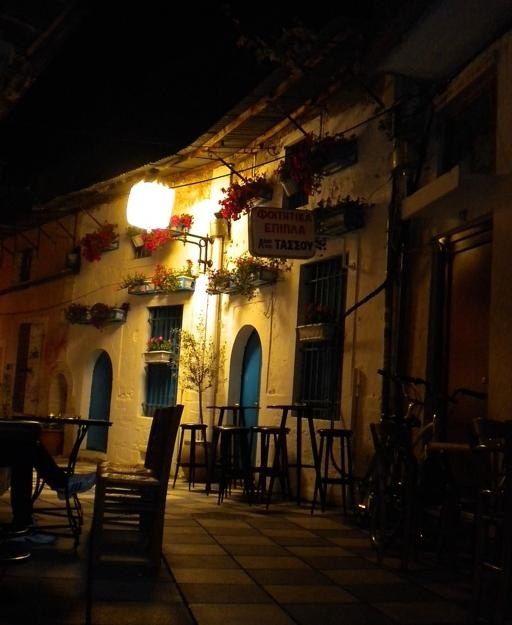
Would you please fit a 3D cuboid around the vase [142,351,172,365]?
[{"bbox_3d":[-1.871,0.825,12.309,0.378,0.234,0.834,6,-9,-21],"label":"vase"}]

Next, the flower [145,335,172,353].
[{"bbox_3d":[-1.791,0.583,12.265,0.328,0.256,0.349,0,3,-36],"label":"flower"}]

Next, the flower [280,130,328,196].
[{"bbox_3d":[0.521,-1.933,9.242,0.692,0.333,0.551,-6,-10,37],"label":"flower"}]

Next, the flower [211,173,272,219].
[{"bbox_3d":[-0.182,-1.815,10.519,0.826,0.733,0.465,-4,-11,38],"label":"flower"}]

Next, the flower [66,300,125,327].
[{"bbox_3d":[-3.328,0.042,13.709,1.621,0.459,0.534,-5,-12,43],"label":"flower"}]

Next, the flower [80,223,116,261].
[{"bbox_3d":[-3.421,-1.505,14.167,0.459,0.765,1.029,11,-12,-43],"label":"flower"}]

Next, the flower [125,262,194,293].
[{"bbox_3d":[-1.808,-0.610,12.350,0.400,0.520,1.789,11,-12,-41],"label":"flower"}]
